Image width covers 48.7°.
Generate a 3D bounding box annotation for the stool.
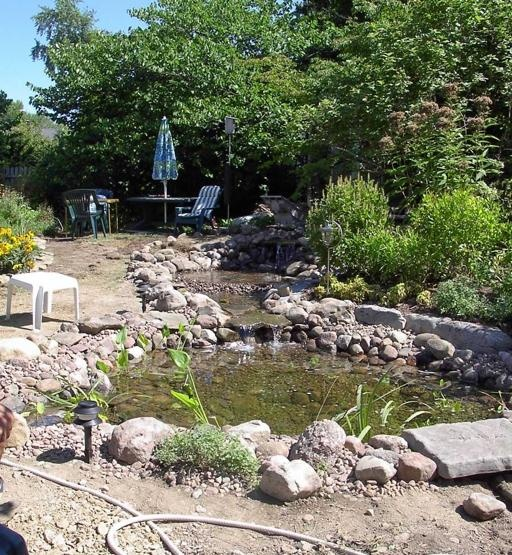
[{"bbox_3d":[-2.117,0.158,5.837,0.746,0.530,0.741,0,7,-40],"label":"stool"}]
